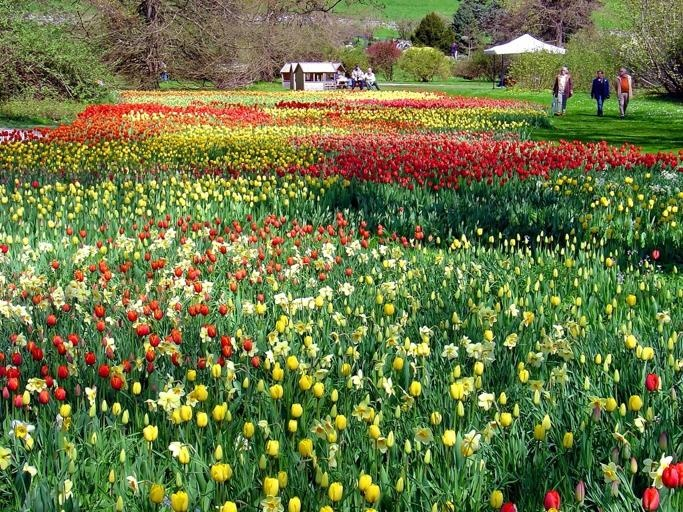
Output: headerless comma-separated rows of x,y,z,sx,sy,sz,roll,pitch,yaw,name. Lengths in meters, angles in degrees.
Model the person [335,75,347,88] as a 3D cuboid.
0.097,-11.370,46.571,0.693,1.072,0.869,-3,21,-10,person
